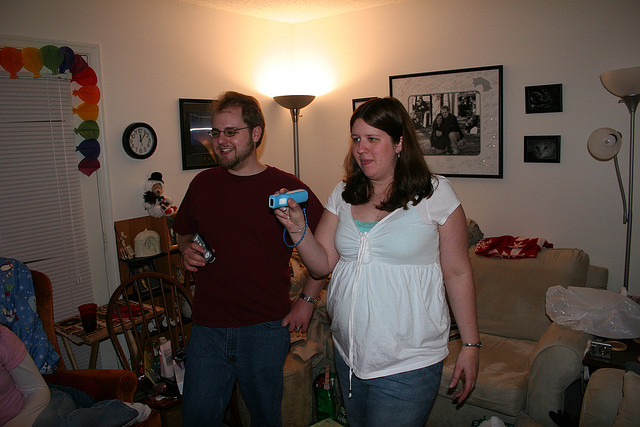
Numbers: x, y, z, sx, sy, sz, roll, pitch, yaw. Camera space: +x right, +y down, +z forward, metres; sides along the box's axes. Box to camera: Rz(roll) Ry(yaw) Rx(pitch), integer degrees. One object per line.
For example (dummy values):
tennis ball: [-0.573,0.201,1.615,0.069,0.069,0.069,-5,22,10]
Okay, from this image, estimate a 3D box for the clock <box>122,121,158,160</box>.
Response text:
clock: [-1.653,-0.670,3.818,0.062,0.388,0.347,1,4,35]

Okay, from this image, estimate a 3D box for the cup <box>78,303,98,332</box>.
cup: [-1.771,0.795,3.181,0.149,0.206,0.148,-6,-5,-1]

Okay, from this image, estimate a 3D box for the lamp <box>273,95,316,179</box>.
lamp: [-0.291,-0.858,4.784,0.439,0.929,0.527,-5,8,-17]

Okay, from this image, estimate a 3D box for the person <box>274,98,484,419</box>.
person: [0.306,0.231,1.966,0.811,1.534,0.377,1,8,28]

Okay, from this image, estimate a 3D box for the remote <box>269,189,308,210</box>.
remote: [-0.150,-0.072,1.973,0.154,0.047,0.083,-8,7,-40]

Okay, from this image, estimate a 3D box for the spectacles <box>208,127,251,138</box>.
spectacles: [-0.524,-0.449,2.342,0.205,0.049,0.059,-2,8,6]

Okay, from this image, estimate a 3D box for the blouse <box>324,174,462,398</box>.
blouse: [0.295,0.288,2.127,0.697,1.020,0.527,1,1,40]

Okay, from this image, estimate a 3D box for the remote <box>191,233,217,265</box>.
remote: [-0.627,0.181,2.287,0.090,0.179,0.041,-34,-5,17]
